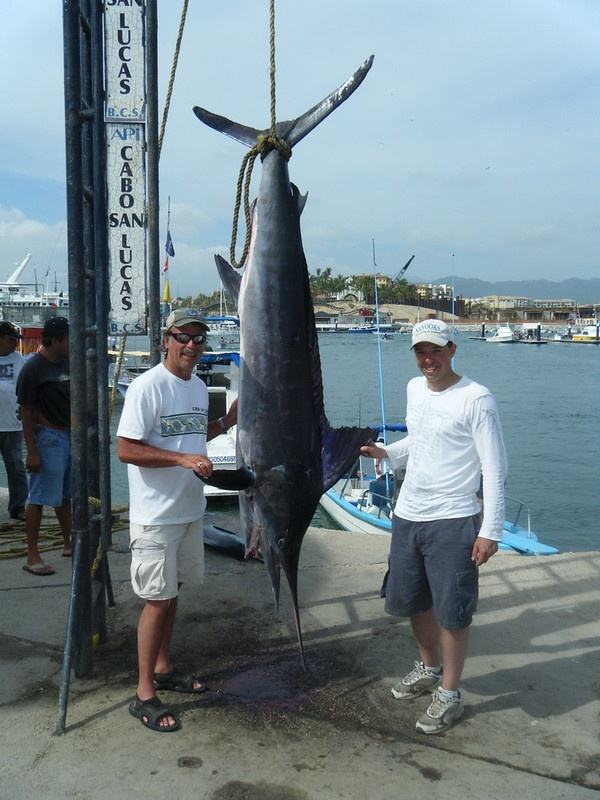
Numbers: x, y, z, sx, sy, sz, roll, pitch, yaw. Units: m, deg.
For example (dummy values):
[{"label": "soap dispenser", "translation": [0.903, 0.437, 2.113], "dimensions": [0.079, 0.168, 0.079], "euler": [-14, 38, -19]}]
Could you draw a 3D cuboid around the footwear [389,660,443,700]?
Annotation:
[{"label": "footwear", "translation": [0.452, 1.069, 2.872], "dimensions": [0.263, 0.111, 0.089], "euler": [-7, 6, -28]}]

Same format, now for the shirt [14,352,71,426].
[{"label": "shirt", "translation": [-1.361, -0.050, 4.135], "dimensions": [0.243, 0.402, 0.455], "euler": [6, 10, 19]}]

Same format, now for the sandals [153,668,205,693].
[{"label": "sandals", "translation": [-0.444, 1.051, 2.797], "dimensions": [0.233, 0.078, 0.074], "euler": [0, -1, 12]}]

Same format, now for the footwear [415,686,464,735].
[{"label": "footwear", "translation": [0.496, 1.104, 2.650], "dimensions": [0.087, 0.105, 0.250], "euler": [3, 2, 42]}]

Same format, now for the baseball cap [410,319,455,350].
[{"label": "baseball cap", "translation": [0.484, -0.244, 2.731], "dimensions": [0.106, 0.074, 0.156], "euler": [-5, -12, 22]}]

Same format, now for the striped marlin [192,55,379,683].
[{"label": "striped marlin", "translation": [-0.065, -0.121, 2.588], "dimensions": [0.632, 1.993, 0.679], "euler": [1, 8, -8]}]

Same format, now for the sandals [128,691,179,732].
[{"label": "sandals", "translation": [-0.499, 1.081, 2.565], "dimensions": [0.077, 0.075, 0.201], "euler": [5, -6, -43]}]
